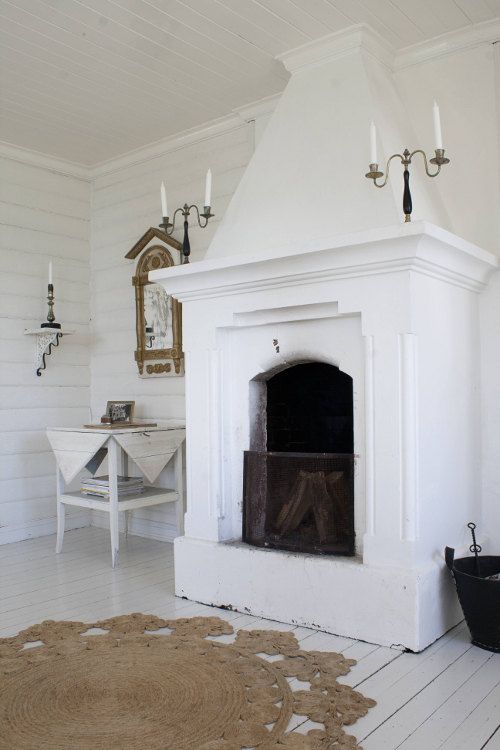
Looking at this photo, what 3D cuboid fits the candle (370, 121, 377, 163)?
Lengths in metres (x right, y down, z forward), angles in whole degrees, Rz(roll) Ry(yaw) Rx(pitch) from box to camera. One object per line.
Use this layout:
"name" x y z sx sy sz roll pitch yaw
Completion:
"candle" 0.435 -0.814 2.198 0.017 0.181 0.096 -2 -3 10

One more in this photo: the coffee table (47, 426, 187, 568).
"coffee table" -0.896 0.710 4.054 0.733 0.945 0.906 -3 -4 41

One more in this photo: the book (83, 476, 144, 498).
"book" -0.810 0.689 3.814 0.187 0.066 0.190 0 -2 36

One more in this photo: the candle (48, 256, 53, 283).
"candle" -1.437 -0.742 4.485 0.035 0.240 0.271 0 -3 -17
